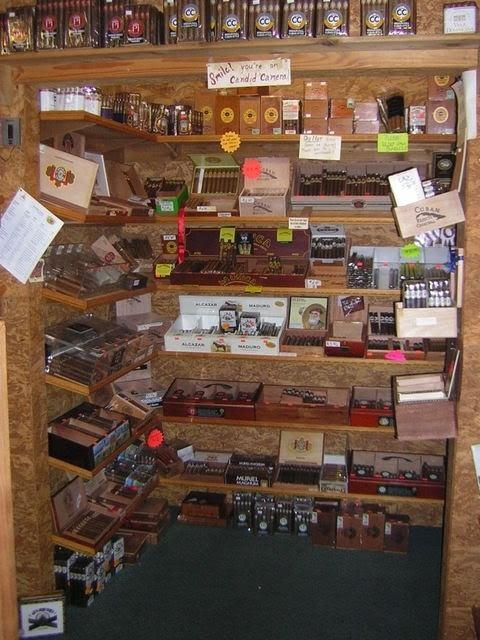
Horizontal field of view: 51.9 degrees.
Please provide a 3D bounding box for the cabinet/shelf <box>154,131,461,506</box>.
[{"bbox_3d":[0.462,-0.053,3.298,2.860,2.463,0.851,0,4,4],"label":"cabinet/shelf"}]

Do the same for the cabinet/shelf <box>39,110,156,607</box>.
[{"bbox_3d":[-0.853,0.272,3.034,0.636,2.743,1.309,-1,7,-3],"label":"cabinet/shelf"}]
